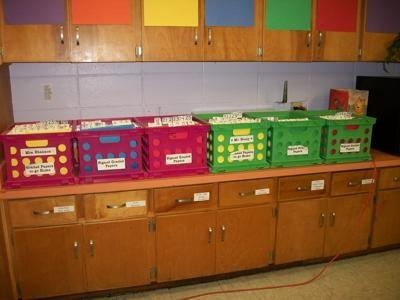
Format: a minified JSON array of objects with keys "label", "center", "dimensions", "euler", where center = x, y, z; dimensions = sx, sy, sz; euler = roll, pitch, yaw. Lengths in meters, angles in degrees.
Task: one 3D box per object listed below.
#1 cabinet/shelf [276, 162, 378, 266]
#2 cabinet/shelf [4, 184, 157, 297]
[{"label":"cabinet/shelf","center":[1.122,0.537,2.967],"dimensions":[0.942,0.810,0.387],"euler":[-3,8,-15]},{"label":"cabinet/shelf","center":[-0.961,0.665,2.530],"dimensions":[0.890,0.722,0.339],"euler":[-2,6,-15]}]
